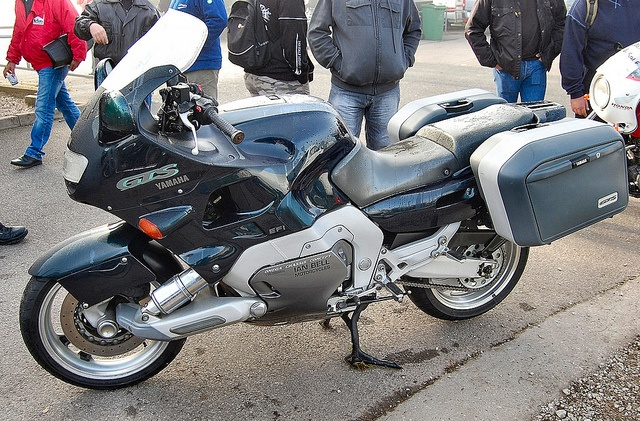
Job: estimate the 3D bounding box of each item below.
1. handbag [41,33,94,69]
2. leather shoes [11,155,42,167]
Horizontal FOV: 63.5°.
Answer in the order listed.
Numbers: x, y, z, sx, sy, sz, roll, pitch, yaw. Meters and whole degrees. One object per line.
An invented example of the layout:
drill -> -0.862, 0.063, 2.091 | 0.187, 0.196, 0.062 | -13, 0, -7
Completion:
handbag -> -3.266, -2.083, 6.678 | 0.884, 0.283, 0.222 | -1, -5, 29
leather shoes -> -3.790, -0.641, 6.702 | 0.356, 0.152, 0.155 | -3, 14, -38
